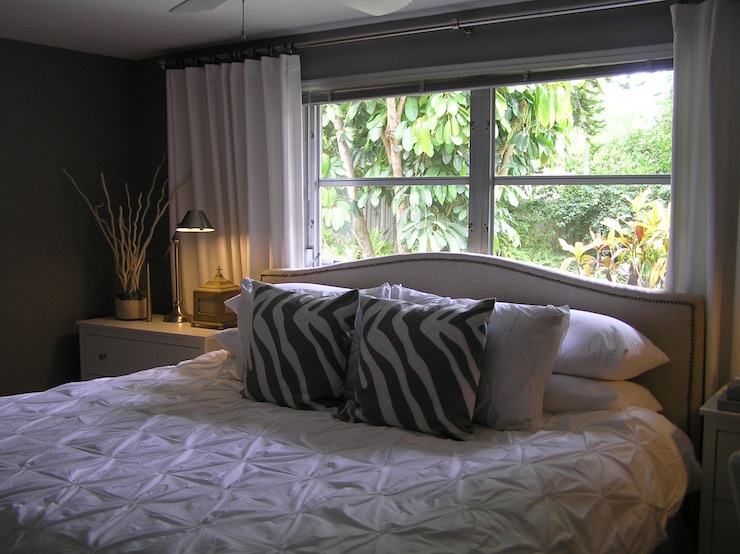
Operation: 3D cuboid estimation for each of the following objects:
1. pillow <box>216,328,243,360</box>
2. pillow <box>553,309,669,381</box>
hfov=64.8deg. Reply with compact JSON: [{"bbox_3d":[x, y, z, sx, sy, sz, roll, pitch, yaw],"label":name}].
[{"bbox_3d":[-0.690,0.321,2.933,0.142,0.155,0.068,3,8,42],"label":"pillow"},{"bbox_3d":[1.034,0.314,2.524,0.358,0.161,0.384,-3,4,13],"label":"pillow"}]
